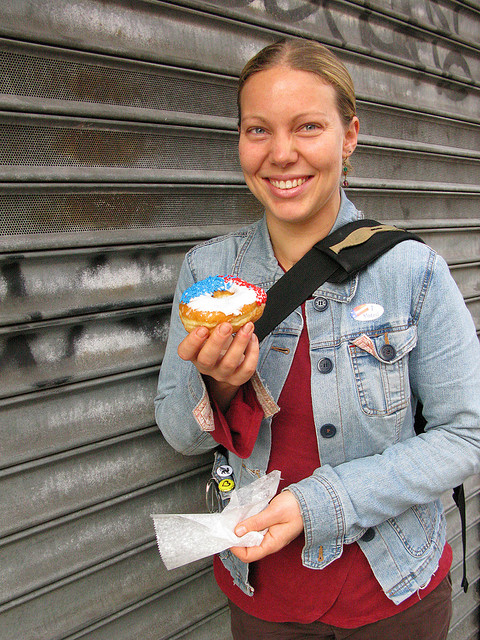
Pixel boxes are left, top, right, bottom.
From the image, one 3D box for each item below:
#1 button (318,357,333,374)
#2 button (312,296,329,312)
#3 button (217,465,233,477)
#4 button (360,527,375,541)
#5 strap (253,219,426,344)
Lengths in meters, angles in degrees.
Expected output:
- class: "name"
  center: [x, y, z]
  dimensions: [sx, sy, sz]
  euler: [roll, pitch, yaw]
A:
- class: "button"
  center: [0.223, 0.122, 1.344]
  dimensions: [0.038, 0.035, 0.026]
  euler: [-2, 19, 6]
- class: "button"
  center: [0.217, -0.043, 1.389]
  dimensions: [0.039, 0.037, 0.022]
  euler: [-2, 19, 7]
- class: "button"
  center: [-0.046, 0.441, 1.491]
  dimensions: [0.040, 0.024, 0.042]
  euler: [3, 19, 21]
- class: "button"
  center: [0.336, 0.570, 1.347]
  dimensions: [0.038, 0.032, 0.008]
  euler: [-5, 15, -35]
- class: "strap"
  center: [0.276, -0.095, 1.387]
  dimensions: [0.084, 0.419, 0.140]
  euler: [57, 11, 26]
